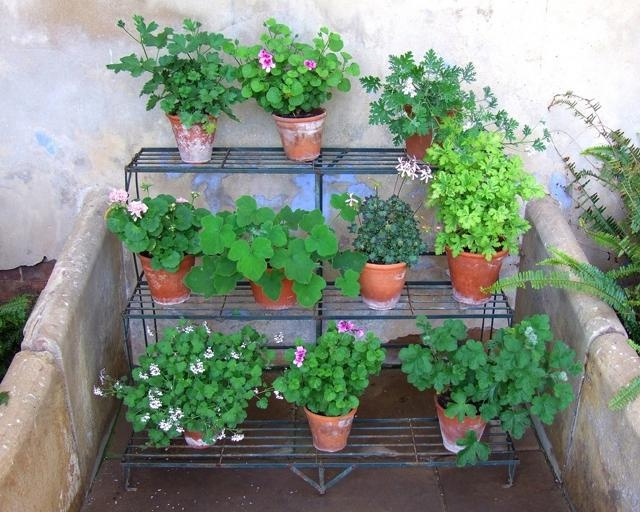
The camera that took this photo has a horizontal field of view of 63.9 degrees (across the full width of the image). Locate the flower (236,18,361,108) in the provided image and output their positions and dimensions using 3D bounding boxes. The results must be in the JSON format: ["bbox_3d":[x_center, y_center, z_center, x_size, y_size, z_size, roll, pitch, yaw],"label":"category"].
[{"bbox_3d":[-0.131,-1.032,2.868,0.662,0.501,0.505,0,34,-5],"label":"flower"}]

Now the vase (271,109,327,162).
[{"bbox_3d":[-0.110,-0.715,3.029,0.326,0.263,0.338,12,32,24],"label":"vase"}]

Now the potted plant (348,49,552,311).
[{"bbox_3d":[0.824,-0.478,2.956,0.929,1.236,0.778,29,42,33],"label":"potted plant"}]

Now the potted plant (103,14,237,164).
[{"bbox_3d":[-0.786,-0.922,2.935,0.702,0.793,0.562,0,34,-3],"label":"potted plant"}]
